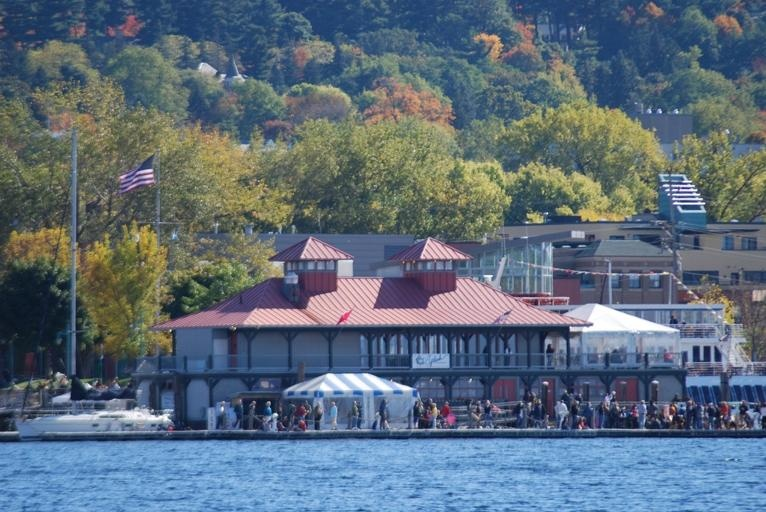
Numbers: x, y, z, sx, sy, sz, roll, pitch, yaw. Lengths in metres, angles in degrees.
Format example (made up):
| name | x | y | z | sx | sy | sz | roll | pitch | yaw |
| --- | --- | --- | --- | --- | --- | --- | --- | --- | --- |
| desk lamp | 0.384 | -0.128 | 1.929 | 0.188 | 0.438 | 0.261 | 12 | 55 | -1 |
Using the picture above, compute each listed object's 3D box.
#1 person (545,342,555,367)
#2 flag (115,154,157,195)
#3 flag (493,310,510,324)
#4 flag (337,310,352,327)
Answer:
| name | x | y | z | sx | sy | sz | roll | pitch | yaw |
| --- | --- | --- | --- | --- | --- | --- | --- | --- | --- |
| person | 19.925 | 12.795 | 295.554 | 1.037 | 2.652 | 0.582 | 1 | -10 | -16 |
| flag | -31.385 | -9.240 | 312.111 | 4.666 | 4.509 | 0.842 | -21 | -38 | 23 |
| flag | 14.185 | 8.225 | 295.020 | 2.978 | 0.843 | 0.434 | -40 | -10 | -51 |
| flag | -4.720 | 8.211 | 293.762 | 1.974 | 1.990 | 1.013 | 8 | -14 | -44 |
